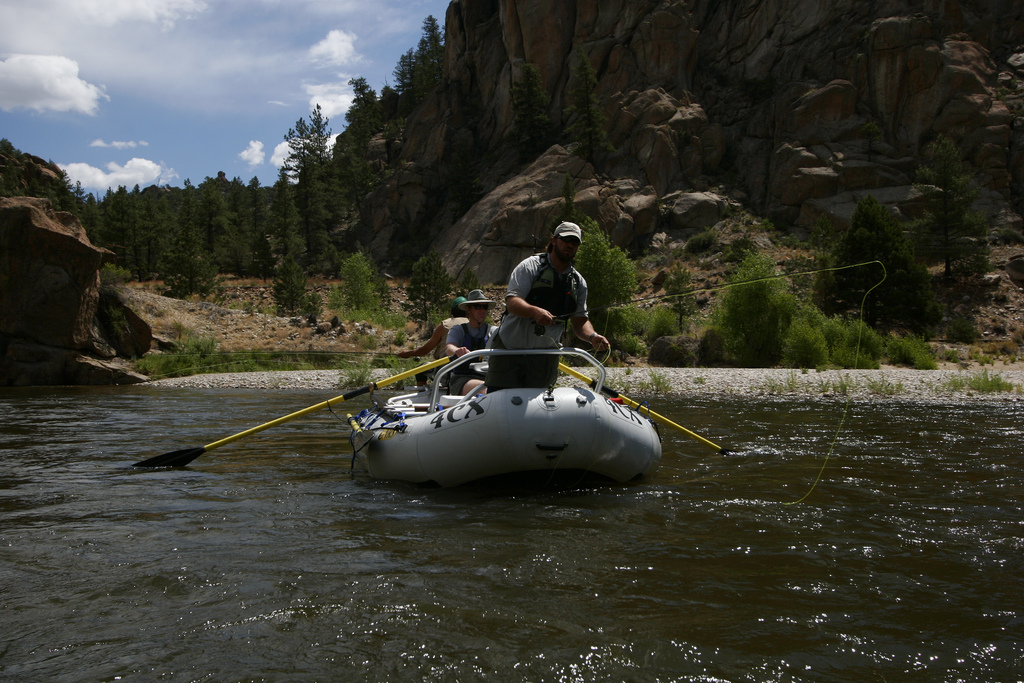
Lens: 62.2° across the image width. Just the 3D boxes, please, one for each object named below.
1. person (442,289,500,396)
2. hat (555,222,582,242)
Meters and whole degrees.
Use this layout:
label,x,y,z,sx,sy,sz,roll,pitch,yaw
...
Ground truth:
label,x,y,z,sx,sy,sz,roll,pitch,yaw
person,-0.560,0.258,12.835,0.922,1.948,1.159,-3,6,-20
hat,0.725,-1.459,11.249,0.263,0.182,0.351,14,-11,-2
